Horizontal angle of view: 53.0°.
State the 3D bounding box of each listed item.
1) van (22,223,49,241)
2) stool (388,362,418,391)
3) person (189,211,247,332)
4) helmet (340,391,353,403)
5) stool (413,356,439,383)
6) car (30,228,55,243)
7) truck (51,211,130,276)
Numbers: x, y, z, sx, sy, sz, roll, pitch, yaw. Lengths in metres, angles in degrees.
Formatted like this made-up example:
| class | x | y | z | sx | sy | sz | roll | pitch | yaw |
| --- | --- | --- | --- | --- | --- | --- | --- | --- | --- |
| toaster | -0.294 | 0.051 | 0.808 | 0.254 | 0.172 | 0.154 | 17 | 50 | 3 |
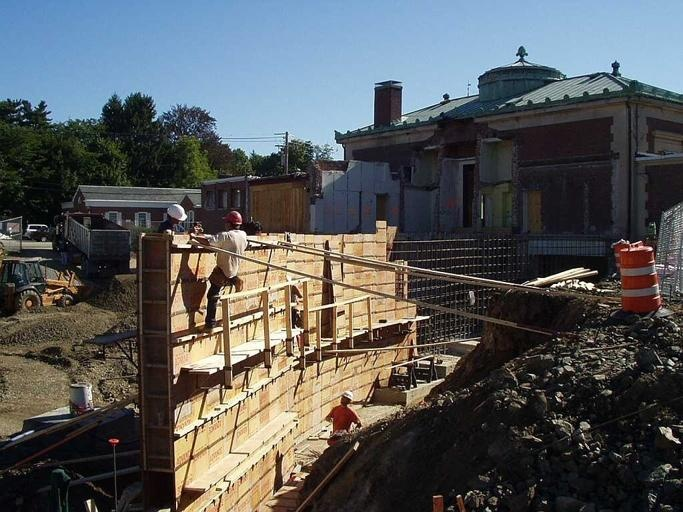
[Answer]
| class | x | y | z | sx | sy | sz | roll | pitch | yaw |
| --- | --- | --- | --- | --- | --- | --- | --- | --- | --- |
| van | -25.323 | -1.895 | 57.140 | 2.435 | 1.245 | 1.394 | -8 | 11 | -41 |
| stool | 1.672 | 3.349 | 19.070 | 0.662 | 0.813 | 0.838 | -1 | 0 | 7 |
| person | -2.052 | 0.268 | 11.509 | 0.845 | 2.043 | 1.175 | 1 | 1 | 0 |
| helmet | 0.107 | 2.873 | 14.014 | 0.226 | 0.163 | 0.314 | 33 | 2 | 16 |
| stool | 2.327 | 3.201 | 19.227 | 0.625 | 0.496 | 0.246 | -7 | -11 | 40 |
| car | -25.008 | -1.734 | 57.168 | 1.490 | 1.007 | 2.244 | 0 | 2 | -23 |
| truck | -13.977 | -0.764 | 38.940 | 2.593 | 2.687 | 6.677 | 1 | 9 | -34 |
